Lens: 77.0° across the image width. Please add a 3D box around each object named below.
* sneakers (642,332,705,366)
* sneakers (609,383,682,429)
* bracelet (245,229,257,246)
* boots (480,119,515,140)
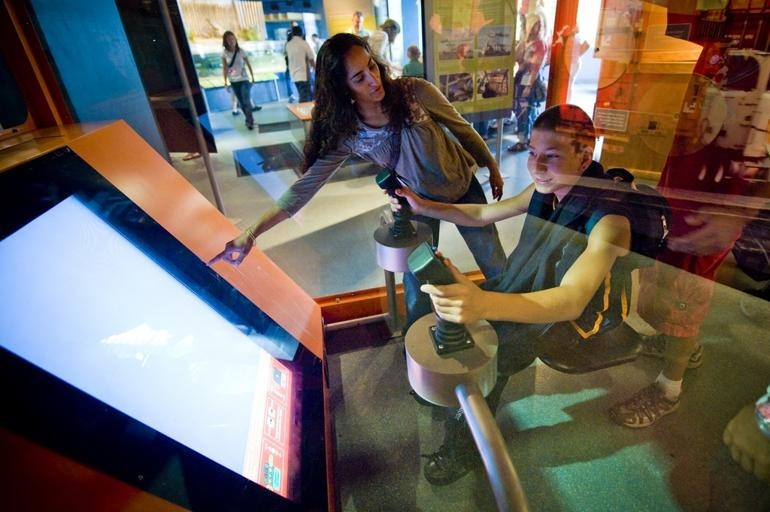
[{"bbox_3d":[0.784,0.246,1.311,0.123,0.086,0.043,-10,54,32],"label":"sneakers"},{"bbox_3d":[0.707,0.415,1.369,0.215,0.097,0.093,-21,42,4],"label":"sneakers"},{"bbox_3d":[-0.457,-0.067,1.644,0.039,0.037,0.037,-3,22,-13],"label":"bracelet"},{"bbox_3d":[0.481,-0.564,2.154,0.079,0.104,0.259,-15,19,-11],"label":"boots"}]
